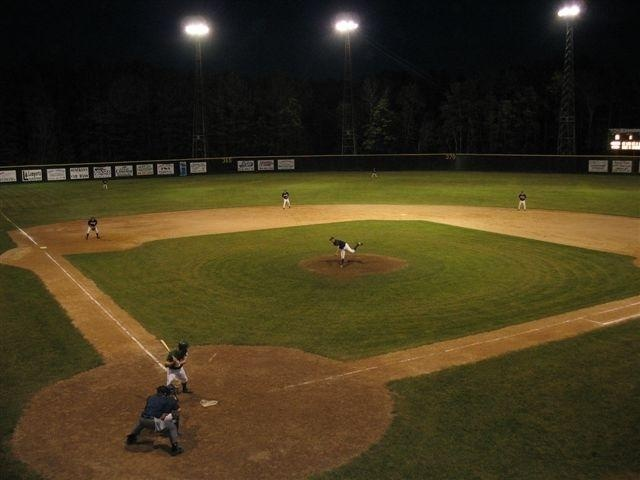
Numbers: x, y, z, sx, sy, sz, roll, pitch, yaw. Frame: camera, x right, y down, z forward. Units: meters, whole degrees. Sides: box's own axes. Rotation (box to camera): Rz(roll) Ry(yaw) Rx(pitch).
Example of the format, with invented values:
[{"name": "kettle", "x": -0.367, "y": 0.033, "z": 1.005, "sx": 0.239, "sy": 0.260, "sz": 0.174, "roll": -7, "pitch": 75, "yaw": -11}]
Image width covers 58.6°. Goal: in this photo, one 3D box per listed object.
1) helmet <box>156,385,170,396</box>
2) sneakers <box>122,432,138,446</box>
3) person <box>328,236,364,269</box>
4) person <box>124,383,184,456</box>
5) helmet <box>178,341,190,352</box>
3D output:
[{"name": "helmet", "x": -3.299, "y": 3.232, "z": 12.182, "sx": 0.199, "sy": 0.227, "sz": 0.252, "roll": 6, "pitch": 8, "yaw": 29}, {"name": "sneakers", "x": -3.954, "y": 4.217, "z": 12.038, "sx": 0.208, "sy": 0.280, "sz": 0.291, "roll": -7, "pitch": -6, "yaw": -21}, {"name": "person", "x": 1.129, "y": 0.282, "z": 24.950, "sx": 0.842, "sy": 1.316, "sz": 2.671, "roll": 1, "pitch": 14, "yaw": 7}, {"name": "person", "x": -3.327, "y": 3.764, "z": 12.029, "sx": 1.186, "sy": 1.213, "sz": 0.641, "roll": 3, "pitch": 15, "yaw": 17}, {"name": "helmet", "x": -3.212, "y": 2.564, "z": 13.610, "sx": 0.275, "sy": 0.252, "sz": 0.242, "roll": 4, "pitch": 3, "yaw": 8}]
